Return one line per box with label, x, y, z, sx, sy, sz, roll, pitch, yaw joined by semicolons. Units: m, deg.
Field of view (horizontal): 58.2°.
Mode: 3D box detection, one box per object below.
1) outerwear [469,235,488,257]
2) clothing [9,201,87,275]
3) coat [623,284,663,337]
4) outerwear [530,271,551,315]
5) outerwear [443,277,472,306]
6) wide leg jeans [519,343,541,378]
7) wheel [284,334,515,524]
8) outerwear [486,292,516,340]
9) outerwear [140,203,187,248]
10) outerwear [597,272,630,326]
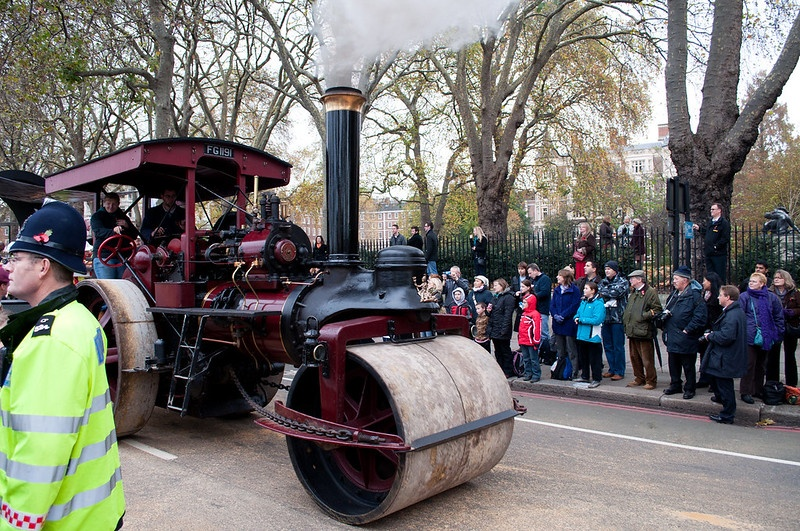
outerwear;2.058;-0.439;18.272;0.478;0.724;0.688;2;-4;-6
clothing;-3.314;-0.331;6.913;0.819;0.653;0.658;5;-4;43
coat;4.151;0.790;12.378;0.491;0.951;0.750;19;-17;-24
outerwear;2.727;0.574;14.097;0.463;0.798;0.591;1;-2;-9
outerwear;1.091;0.521;15.357;0.544;0.667;0.614;-2;-18;34
wide leg jeans;2.391;1.717;13.144;0.264;0.810;0.220;4;15;32
wheel;0.115;1.833;8.786;2.073;2.090;2.545;7;3;40
outerwear;1.885;0.922;13.483;0.393;0.966;0.672;8;-7;-23
outerwear;-3.630;-0.627;10.922;0.585;0.811;0.289;14;-4;22
outerwear;3.841;0.614;12.898;0.509;0.932;0.612;-2;-4;-21
